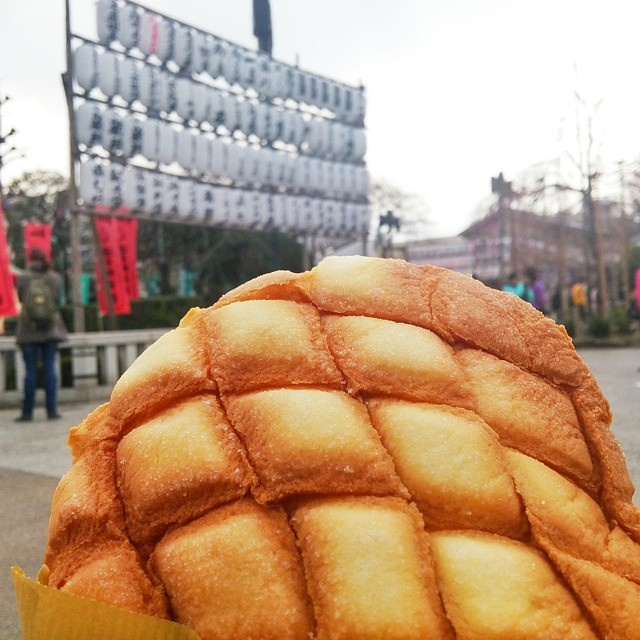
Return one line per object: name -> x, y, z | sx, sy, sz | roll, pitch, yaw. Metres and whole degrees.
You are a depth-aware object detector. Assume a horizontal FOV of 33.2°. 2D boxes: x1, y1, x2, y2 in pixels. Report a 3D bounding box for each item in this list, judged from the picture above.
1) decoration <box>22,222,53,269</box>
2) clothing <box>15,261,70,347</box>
decoration -> -1.999, -0.586, 7.592 | 0.257, 0.416, 0.110 | -3, -11, -1
clothing -> -1.799, -0.112, 6.867 | 0.317, 0.518, 0.271 | -5, 41, -17
